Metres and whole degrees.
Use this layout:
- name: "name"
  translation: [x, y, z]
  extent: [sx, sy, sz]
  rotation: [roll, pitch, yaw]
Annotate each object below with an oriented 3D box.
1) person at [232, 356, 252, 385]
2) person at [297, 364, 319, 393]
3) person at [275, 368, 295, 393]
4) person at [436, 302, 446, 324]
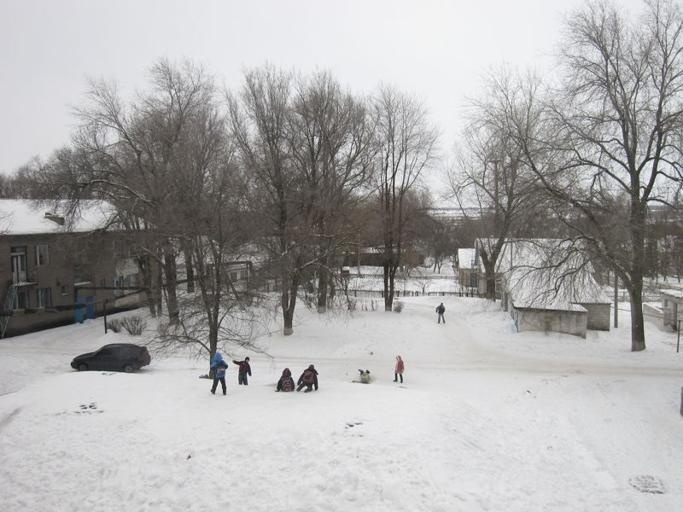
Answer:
- name: "person"
  translation: [-4.803, 5.478, 30.446]
  extent: [0.666, 1.379, 3.428]
  rotation: [-1, -4, -10]
- name: "person"
  translation: [-1.564, 5.589, 28.627]
  extent: [1.009, 1.124, 0.781]
  rotation: [0, -3, -25]
- name: "person"
  translation: [-2.515, 5.661, 28.623]
  extent: [0.880, 1.471, 0.866]
  rotation: [4, -3, -6]
- name: "person"
  translation: [7.478, 4.332, 47.126]
  extent: [0.750, 0.648, 1.962]
  rotation: [8, -41, 9]
